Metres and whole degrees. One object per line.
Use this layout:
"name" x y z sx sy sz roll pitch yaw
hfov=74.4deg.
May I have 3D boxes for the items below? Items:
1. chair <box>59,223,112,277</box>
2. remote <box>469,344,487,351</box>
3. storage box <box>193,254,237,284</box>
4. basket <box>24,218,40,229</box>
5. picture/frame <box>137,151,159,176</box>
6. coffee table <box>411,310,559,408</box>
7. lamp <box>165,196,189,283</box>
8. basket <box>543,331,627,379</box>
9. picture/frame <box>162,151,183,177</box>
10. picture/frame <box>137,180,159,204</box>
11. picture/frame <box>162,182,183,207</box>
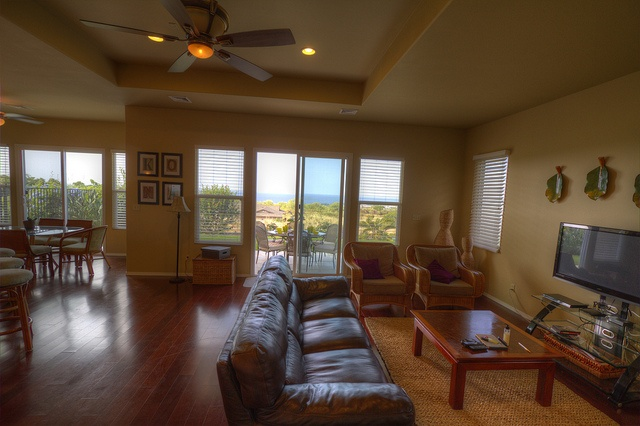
"chair" -4.510 0.659 7.987 0.780 0.875 0.790 4 5 24
"remote" 1.934 1.646 5.175 0.116 0.033 0.106 -1 -1 5
"storage box" -2.090 1.100 7.811 0.957 0.426 0.973 -7 -12 26
"basket" -5.305 0.194 7.750 0.220 0.217 0.189 0 0 -31
"picture/frame" -3.152 -0.919 7.680 0.457 0.554 0.040 0 4 -12
"coffee table" 2.087 1.648 5.348 1.123 0.564 1.459 1 5 -4
"lamp" -2.538 0.451 7.637 0.372 1.525 0.580 -1 14 -12
"basket" 3.496 1.751 5.457 0.460 0.173 0.682 0 6 -19
"picture/frame" -2.724 -0.916 7.717 0.480 0.585 0.058 1 3 -12
"picture/frame" -3.140 -0.381 7.717 0.367 0.440 0.094 1 14 -4
"picture/frame" -2.714 -0.342 7.677 0.481 0.606 0.042 1 0 -14
